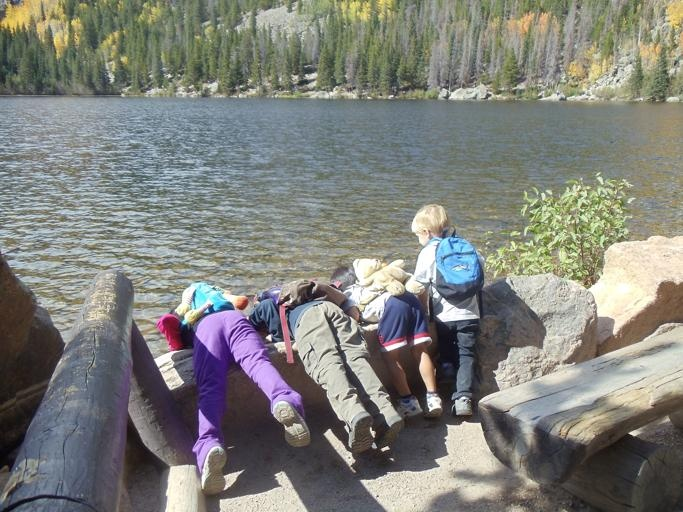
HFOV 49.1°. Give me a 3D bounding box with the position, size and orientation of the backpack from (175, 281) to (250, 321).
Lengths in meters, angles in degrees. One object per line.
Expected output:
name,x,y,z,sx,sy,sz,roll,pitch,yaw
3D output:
backpack,-1.307,0.515,7.320,0.598,0.176,0.371,13,45,23

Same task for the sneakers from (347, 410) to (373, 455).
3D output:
sneakers,0.155,1.569,6.742,0.197,0.410,0.179,1,27,-23

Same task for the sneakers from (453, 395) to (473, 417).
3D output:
sneakers,1.197,1.499,7.357,0.193,0.203,0.150,-4,18,1

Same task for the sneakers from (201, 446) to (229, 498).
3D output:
sneakers,-1.108,1.855,6.510,0.192,0.436,0.193,8,4,-20

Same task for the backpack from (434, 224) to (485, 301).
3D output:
backpack,1.210,0.154,7.674,0.506,0.621,0.443,0,19,11

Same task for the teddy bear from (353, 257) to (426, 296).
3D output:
teddy bear,0.433,0.211,7.591,0.495,0.205,0.423,8,13,8

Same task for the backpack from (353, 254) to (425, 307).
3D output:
backpack,0.412,0.230,7.680,0.521,0.256,0.533,-14,10,-6

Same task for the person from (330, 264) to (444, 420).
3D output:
person,0.505,0.712,7.579,0.816,0.592,1.714,-8,45,-17

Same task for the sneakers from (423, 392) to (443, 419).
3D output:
sneakers,0.920,1.461,7.377,0.175,0.271,0.291,-2,19,6
